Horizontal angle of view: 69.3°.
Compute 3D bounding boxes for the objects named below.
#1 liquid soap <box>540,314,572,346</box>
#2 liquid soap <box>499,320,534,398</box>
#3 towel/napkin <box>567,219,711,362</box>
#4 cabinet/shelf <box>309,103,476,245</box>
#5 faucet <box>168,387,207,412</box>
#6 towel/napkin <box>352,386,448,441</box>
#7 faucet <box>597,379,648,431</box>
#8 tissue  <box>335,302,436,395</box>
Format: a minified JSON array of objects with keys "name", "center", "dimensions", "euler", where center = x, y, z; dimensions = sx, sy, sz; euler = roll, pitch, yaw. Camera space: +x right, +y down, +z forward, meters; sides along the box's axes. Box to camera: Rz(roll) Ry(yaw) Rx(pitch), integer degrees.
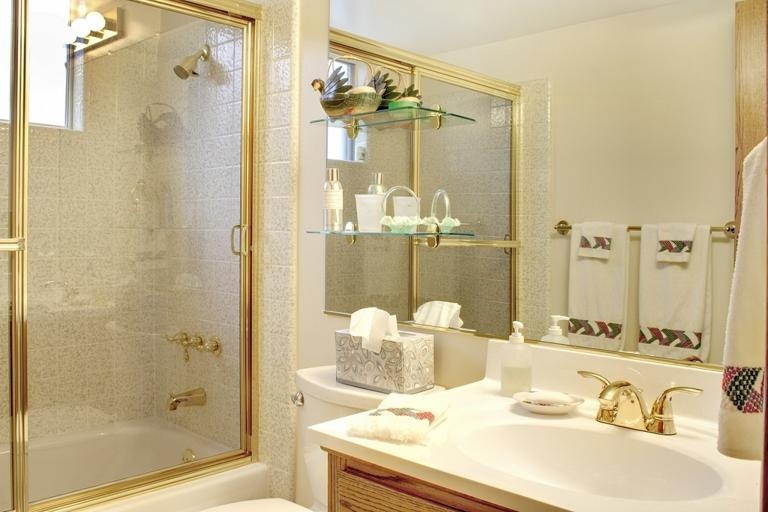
[{"name":"liquid soap","center":[0.618,0.262,1.958],"dimensions":[0.088,0.161,0.088],"euler":[1,-3,-34]},{"name":"liquid soap","center":[0.458,0.348,1.898],"dimensions":[0.103,0.244,0.092],"euler":[0,3,7]},{"name":"towel/napkin","center":[0.831,0.104,1.815],"dimensions":[0.455,0.432,0.082],"euler":[7,13,31]},{"name":"cabinet/shelf","center":[0.074,-0.326,2.293],"dimensions":[0.663,0.518,0.189],"euler":[5,3,40]},{"name":"faucet","center":[-1.012,0.763,2.952],"dimensions":[0.230,0.092,0.094],"euler":[4,-4,-33]},{"name":"towel/napkin","center":[0.061,0.468,1.716],"dimensions":[0.271,0.048,0.354],"euler":[4,11,16]},{"name":"faucet","center":[0.719,0.453,1.662],"dimensions":[0.135,0.130,0.132],"euler":[-1,2,24]},{"name":"tissue ","center":[0.001,0.371,2.257],"dimensions":[0.215,0.310,0.384],"euler":[3,-3,-44]}]
